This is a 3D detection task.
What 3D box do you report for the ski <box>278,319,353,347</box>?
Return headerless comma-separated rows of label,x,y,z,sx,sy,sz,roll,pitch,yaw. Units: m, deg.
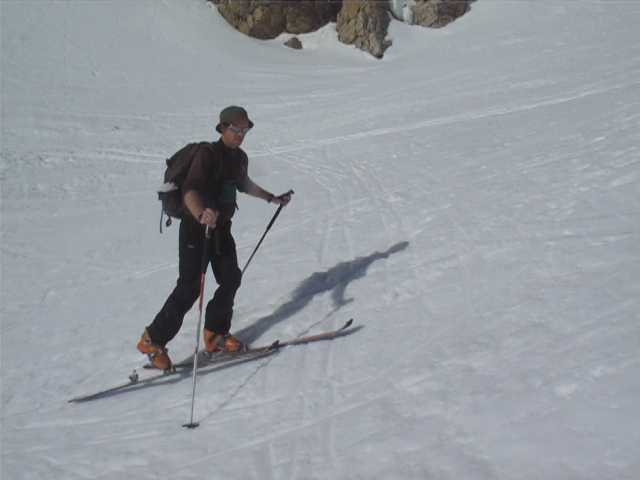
ski,-0.045,1.595,15.218,1.373,0.276,0.115,-13,-5,0
